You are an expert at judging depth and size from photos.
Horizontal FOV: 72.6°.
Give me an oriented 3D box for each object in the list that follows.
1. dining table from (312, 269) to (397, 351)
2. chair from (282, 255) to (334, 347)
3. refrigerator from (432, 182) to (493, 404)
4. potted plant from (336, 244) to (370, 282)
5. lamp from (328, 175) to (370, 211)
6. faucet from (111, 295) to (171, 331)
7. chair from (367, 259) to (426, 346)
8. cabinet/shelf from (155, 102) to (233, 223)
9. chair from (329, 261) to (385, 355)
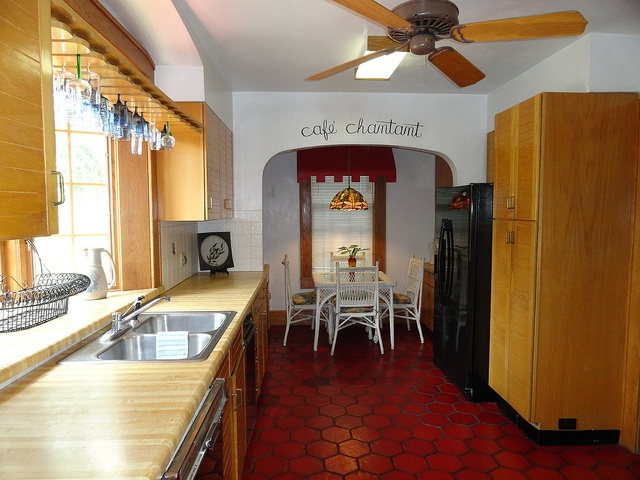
[{"bbox_3d":[0.492,0.957,5.507,0.985,0.775,1.074,-1,-9,5],"label":"dining table"},{"bbox_3d":[-0.158,0.746,5.546,0.699,0.977,0.673,0,3,13],"label":"chair"},{"bbox_3d":[1.331,0.430,4.058,0.276,1.899,0.852,-1,8,-8],"label":"refrigerator"},{"bbox_3d":[0.423,0.310,6.065,0.474,0.523,0.393,0,-4,-1],"label":"potted plant"},{"bbox_3d":[0.347,-0.626,5.673,0.538,0.471,0.522,-6,11,-39],"label":"lamp"},{"bbox_3d":[-1.081,0.447,2.693,0.396,0.162,0.078,-11,-6,-12],"label":"faucet"},{"bbox_3d":[0.964,0.714,5.543,0.610,0.991,0.558,1,4,-1],"label":"chair"},{"bbox_3d":[-1.146,-0.696,4.332,0.398,0.963,1.557,0,5,-3],"label":"cabinet/shelf"},{"bbox_3d":[0.395,0.764,4.709,0.674,0.985,0.707,1,-8,-7],"label":"chair"}]
